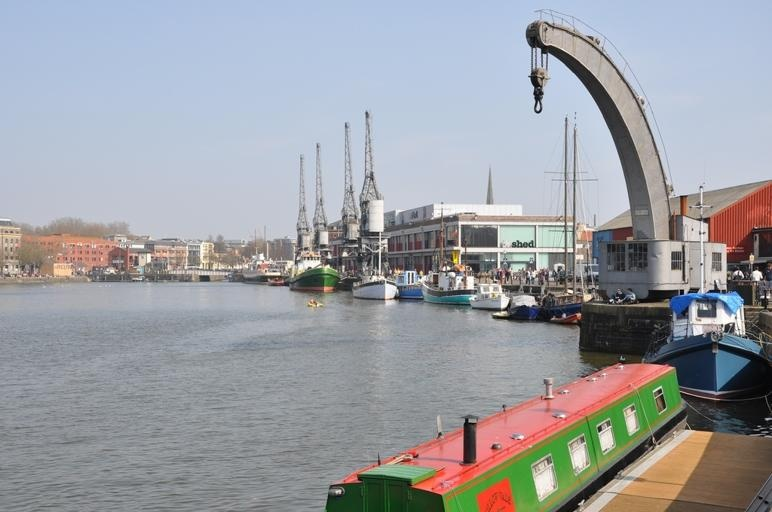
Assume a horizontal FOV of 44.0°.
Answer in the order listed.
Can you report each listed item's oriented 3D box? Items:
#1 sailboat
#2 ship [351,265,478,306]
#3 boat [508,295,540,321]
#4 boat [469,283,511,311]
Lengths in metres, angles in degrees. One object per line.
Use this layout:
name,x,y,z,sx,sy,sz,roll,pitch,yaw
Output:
sailboat,17.616,-3.529,91.085,5.131,20.933,15.107,3,-5,-5
ship,4.216,3.924,122.440,5.045,5.209,29.778,1,-3,-17
boat,13.193,4.945,90.483,1.989,1.920,5.544,0,-6,6
boat,11.560,4.610,103.133,2.363,2.705,5.689,-4,7,-19
